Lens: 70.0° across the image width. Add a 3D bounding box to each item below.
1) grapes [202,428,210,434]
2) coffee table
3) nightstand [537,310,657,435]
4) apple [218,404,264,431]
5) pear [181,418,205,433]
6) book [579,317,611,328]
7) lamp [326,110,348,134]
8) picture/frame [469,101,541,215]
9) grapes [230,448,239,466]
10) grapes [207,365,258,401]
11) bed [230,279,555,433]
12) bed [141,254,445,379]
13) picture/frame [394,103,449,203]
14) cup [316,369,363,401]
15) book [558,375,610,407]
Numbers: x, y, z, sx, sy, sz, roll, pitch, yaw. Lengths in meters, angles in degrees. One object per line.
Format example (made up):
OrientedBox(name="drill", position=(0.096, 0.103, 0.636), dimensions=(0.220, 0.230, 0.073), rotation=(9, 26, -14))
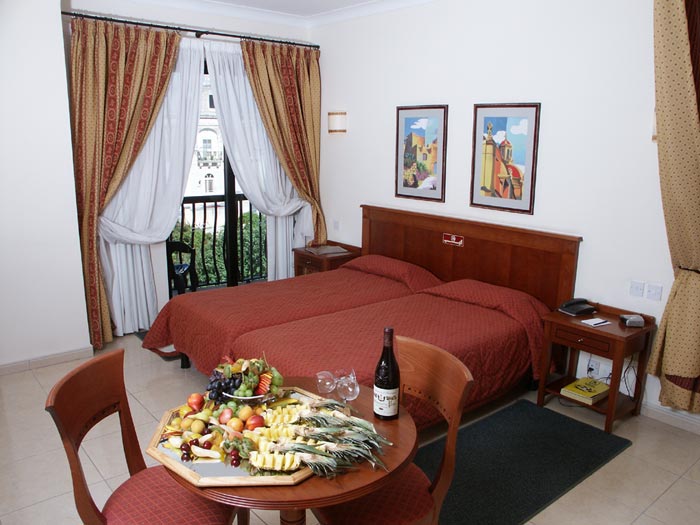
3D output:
OrientedBox(name="grapes", position=(-0.598, 0.704, 2.081), dimensions=(0.019, 0.010, 0.020), rotation=(1, 15, 14))
OrientedBox(name="coffee table", position=(-0.070, 0.838, 2.147), dimensions=(0.599, 0.468, 0.644), rotation=(-3, 17, -7))
OrientedBox(name="nightstand", position=(1.923, 0.788, 3.935), dimensions=(0.548, 0.873, 0.653), rotation=(-8, 15, -29))
OrientedBox(name="apple", position=(-0.451, 0.655, 2.105), dimensions=(0.112, 0.052, 0.118), rotation=(6, 8, -5))
OrientedBox(name="pear", position=(-0.654, 0.681, 2.083), dimensions=(0.081, 0.050, 0.051), rotation=(13, -29, 14))
OrientedBox(name="book", position=(1.862, 0.449, 3.782), dimensions=(0.257, 0.017, 0.151), rotation=(-7, 14, -27))
OrientedBox(name="lamp", position=(-0.169, -1.645, 5.823), dimensions=(0.223, 0.260, 0.218), rotation=(-14, 20, -42))
OrientedBox(name="picture/frame", position=(1.413, -0.957, 4.458), dimensions=(0.814, 1.341, 0.057), rotation=(11, 16, 41))
OrientedBox(name="grapes", position=(-0.460, 0.765, 1.970), dimensions=(0.035, 0.051, 0.018), rotation=(-18, -11, 36))
OrientedBox(name="grapes", position=(-0.546, 0.536, 2.203), dimensions=(0.131, 0.084, 0.175), rotation=(-8, 7, -27))
OrientedBox(name="bed", position=(0.507, 0.560, 3.766), dimensions=(1.808, 0.596, 1.174), rotation=(-11, 22, -36))
OrientedBox(name="bed", position=(-0.431, 0.329, 4.596), dimensions=(2.057, 0.704, 1.284), rotation=(-11, 21, -34))
OrientedBox(name="picture/frame", position=(0.754, -1.146, 5.096), dimensions=(0.043, 1.243, 0.807), rotation=(-12, 18, -44))
OrientedBox(name="cup", position=(-0.072, 0.560, 2.365), dimensions=(0.145, 0.078, 0.150), rotation=(5, 20, -2))
OrientedBox(name="book", position=(1.811, 0.983, 3.856), dimensions=(0.265, 0.060, 0.186), rotation=(-14, 17, -42))
